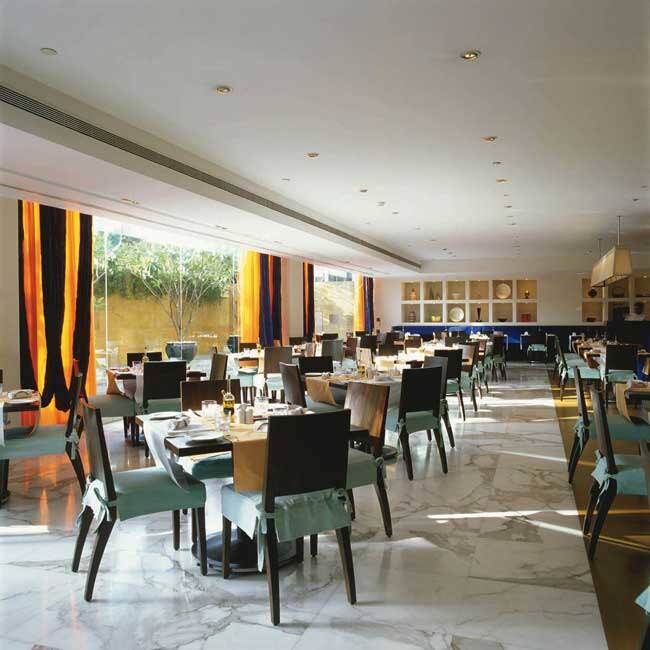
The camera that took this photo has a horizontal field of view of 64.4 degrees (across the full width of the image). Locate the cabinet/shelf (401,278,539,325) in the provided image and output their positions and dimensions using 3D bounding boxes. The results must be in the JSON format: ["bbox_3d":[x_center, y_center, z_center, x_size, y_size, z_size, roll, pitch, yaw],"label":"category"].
[{"bbox_3d":[4.517,-0.749,16.519,4.108,1.451,0.626,-1,1,21],"label":"cabinet/shelf"}]
